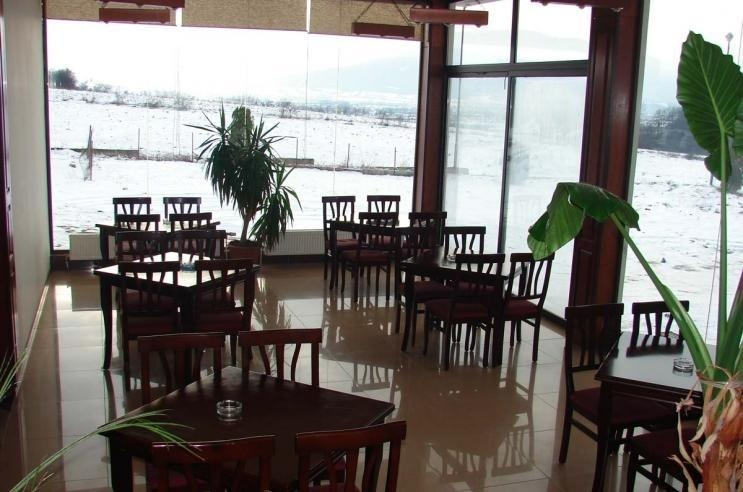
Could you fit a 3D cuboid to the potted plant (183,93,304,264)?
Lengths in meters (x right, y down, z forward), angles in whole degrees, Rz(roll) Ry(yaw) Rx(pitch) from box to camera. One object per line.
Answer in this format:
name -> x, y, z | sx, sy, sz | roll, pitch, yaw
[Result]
potted plant -> -2.132, -0.966, 9.998 | 2.053, 3.112, 2.267 | 0, 4, 5
